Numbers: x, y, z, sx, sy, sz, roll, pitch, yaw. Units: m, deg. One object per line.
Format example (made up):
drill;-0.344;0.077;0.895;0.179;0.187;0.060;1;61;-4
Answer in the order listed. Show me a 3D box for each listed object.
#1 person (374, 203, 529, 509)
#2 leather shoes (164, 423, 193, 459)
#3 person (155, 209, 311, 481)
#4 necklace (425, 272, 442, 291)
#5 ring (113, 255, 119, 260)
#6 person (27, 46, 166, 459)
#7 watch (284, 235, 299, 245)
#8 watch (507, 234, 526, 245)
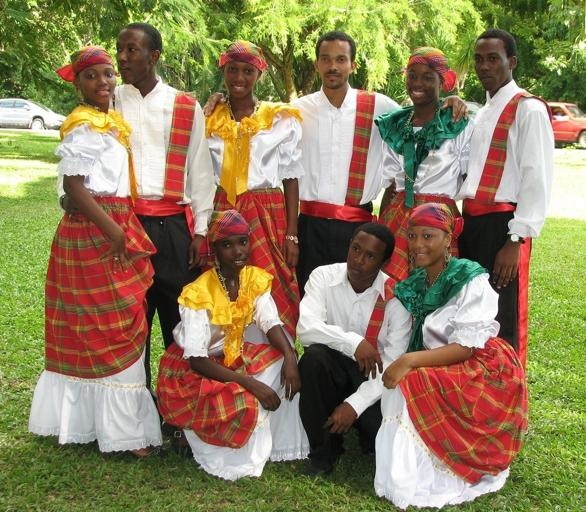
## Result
person;0.900;0.515;3.266;0.787;1.567;0.705;4;9;14
leather shoes;-0.738;1.154;3.750;0.054;0.163;0.172;-10;8;-37
person;-0.350;0.486;3.582;0.746;1.493;0.706;-5;12;-39
necklace;0.815;0.151;3.527;0.086;0.084;0.069;3;13;-20
ring;-1.036;0.006;3.494;0.022;0.028;0.007;4;7;0
person;-1.172;-0.002;3.486;0.740;2.380;0.483;-2;10;-21
watch;-0.013;-0.115;4.082;0.070;0.038;0.054;16;-6;34
watch;1.351;-0.094;3.635;0.070;0.035;0.068;7;-23;28
